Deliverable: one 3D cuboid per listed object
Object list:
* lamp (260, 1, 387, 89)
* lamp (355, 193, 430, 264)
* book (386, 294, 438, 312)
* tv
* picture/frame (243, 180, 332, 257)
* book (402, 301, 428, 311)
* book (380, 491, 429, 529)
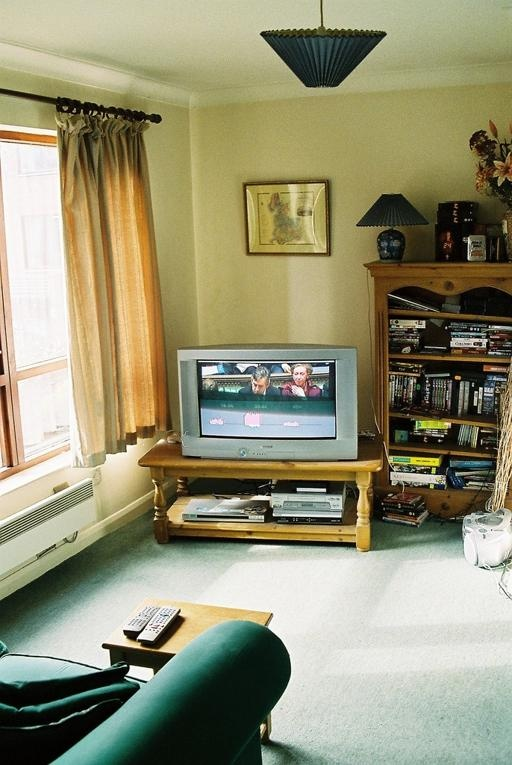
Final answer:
[{"bbox_3d":[0.171,-0.810,1.558,0.260,0.327,0.264,-5,17,-15],"label":"lamp"},{"bbox_3d":[0.840,-0.909,3.438,0.409,0.393,0.295,-9,10,-38],"label":"lamp"},{"bbox_3d":[0.950,-0.484,3.595,0.347,0.034,0.192,12,12,-3],"label":"book"},{"bbox_3d":[0.057,0.132,3.313,1.097,0.710,0.657,0,6,8],"label":"tv"},{"bbox_3d":[0.239,-1.137,4.006,0.553,0.432,0.037,6,19,24],"label":"picture/frame"},{"bbox_3d":[0.978,-0.455,3.544,0.179,0.047,0.060,15,10,12],"label":"book"},{"bbox_3d":[0.915,0.766,3.610,0.214,0.129,0.222,-1,1,24],"label":"book"}]
